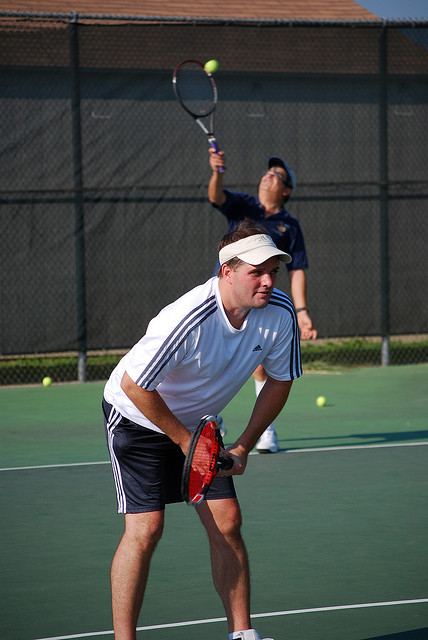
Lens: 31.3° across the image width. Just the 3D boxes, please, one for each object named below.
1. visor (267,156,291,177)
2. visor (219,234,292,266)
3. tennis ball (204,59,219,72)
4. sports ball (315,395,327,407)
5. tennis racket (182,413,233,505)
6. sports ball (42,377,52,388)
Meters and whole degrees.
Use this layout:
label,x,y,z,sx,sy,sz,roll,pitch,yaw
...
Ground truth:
label,x,y,z,sx,sy,sz,roll,pitch,yaw
visor,0.403,-0.962,4.807,0.119,0.135,0.190,-2,4,-22
visor,0.107,-0.190,2.135,0.217,0.087,0.142,-7,14,-43
tennis ball,-0.023,-1.869,5.685,0.105,0.087,0.141,-2,22,27
sports ball,0.941,0.710,6.684,0.082,0.099,0.083,-1,14,0
tennis racket,-0.016,0.395,2.185,0.076,0.200,0.270,13,-18,32
sports ball,-1.702,0.631,7.826,0.088,0.089,0.106,-18,-29,4
